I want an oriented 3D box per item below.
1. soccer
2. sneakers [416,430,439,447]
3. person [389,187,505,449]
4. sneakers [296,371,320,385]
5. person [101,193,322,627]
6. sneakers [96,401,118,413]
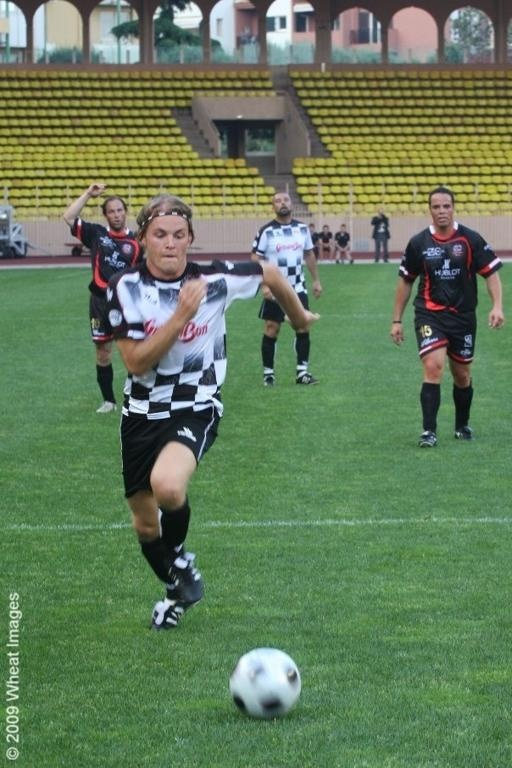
[{"bbox_3d":[0.022,0.851,3.257,0.189,0.201,0.200,9,16,-17],"label":"soccer"},{"bbox_3d":[1.049,0.342,6.966,0.076,0.098,0.211,-2,-6,13],"label":"sneakers"},{"bbox_3d":[1.181,-0.388,6.868,0.529,1.552,0.827,-7,10,-36],"label":"person"},{"bbox_3d":[0.442,-0.045,9.573,0.075,0.093,0.208,-2,1,-28],"label":"sneakers"},{"bbox_3d":[-0.250,0.090,3.970,0.493,1.467,0.799,1,9,8],"label":"person"},{"bbox_3d":[-1.103,0.184,8.358,0.058,0.080,0.177,-4,-2,21],"label":"sneakers"}]
